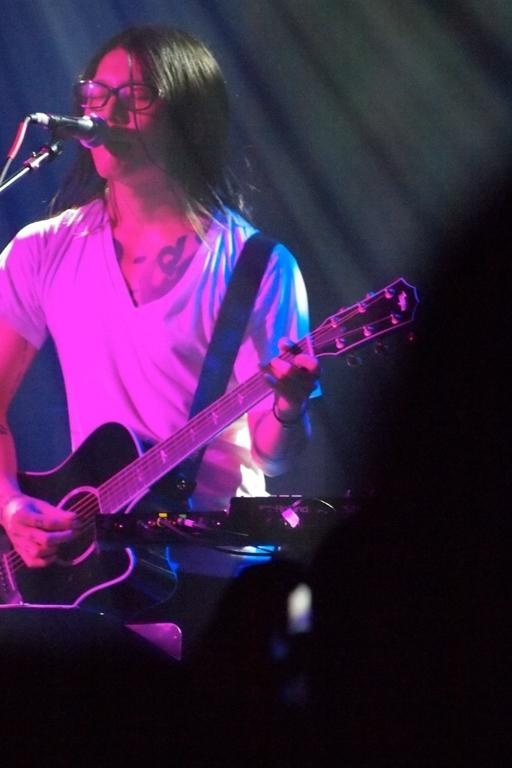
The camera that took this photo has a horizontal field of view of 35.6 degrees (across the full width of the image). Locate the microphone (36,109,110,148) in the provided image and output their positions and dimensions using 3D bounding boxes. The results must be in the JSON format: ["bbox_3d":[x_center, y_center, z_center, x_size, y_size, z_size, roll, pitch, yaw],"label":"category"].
[{"bbox_3d":[-0.405,-0.562,1.816,0.070,0.071,0.203,2,-1,36],"label":"microphone"}]
